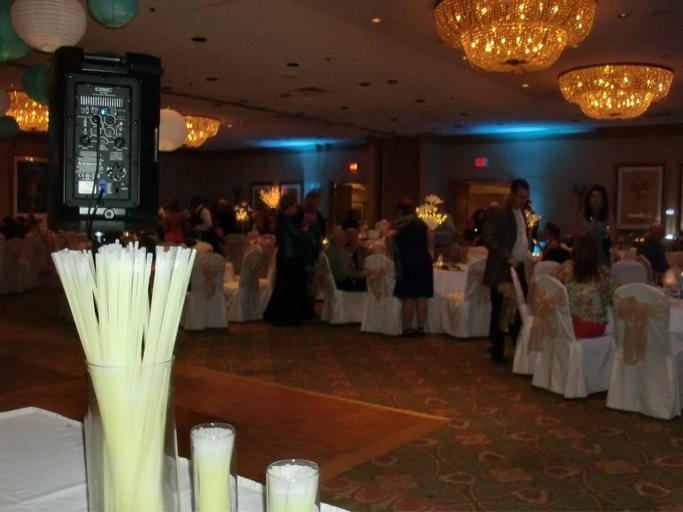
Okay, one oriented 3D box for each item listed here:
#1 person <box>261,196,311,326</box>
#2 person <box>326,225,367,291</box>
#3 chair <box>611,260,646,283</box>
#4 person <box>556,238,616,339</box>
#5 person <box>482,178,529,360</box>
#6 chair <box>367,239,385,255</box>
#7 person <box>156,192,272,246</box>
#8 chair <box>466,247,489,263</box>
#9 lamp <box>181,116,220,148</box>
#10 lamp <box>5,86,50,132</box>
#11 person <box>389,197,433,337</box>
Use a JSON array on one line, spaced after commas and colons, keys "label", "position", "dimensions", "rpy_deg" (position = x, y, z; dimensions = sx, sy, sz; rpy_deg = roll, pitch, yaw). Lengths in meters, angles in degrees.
[{"label": "person", "position": [-0.668, 0.039, 6.924], "dimensions": [0.550, 1.657, 0.279], "rpy_deg": [0, 4, -5]}, {"label": "person", "position": [0.086, 0.032, 7.116], "dimensions": [0.519, 0.834, 1.069], "rpy_deg": [1, 4, 2]}, {"label": "chair", "position": [2.798, 0.154, 5.305], "dimensions": [0.185, 0.188, 0.186], "rpy_deg": [6, 6, 33]}, {"label": "person", "position": [1.906, 0.224, 4.201], "dimensions": [0.424, 0.801, 0.227], "rpy_deg": [1, 4, -3]}, {"label": "person", "position": [1.627, 0.135, 5.046], "dimensions": [0.558, 1.671, 0.434], "rpy_deg": [-7, 10, -26]}, {"label": "chair", "position": [0.552, -0.147, 8.268], "dimensions": [0.221, 0.274, 0.285], "rpy_deg": [-1, -2, -35]}, {"label": "person", "position": [-2.426, -0.766, 10.987], "dimensions": [2.091, 0.701, 0.746], "rpy_deg": [-9, 49, 4]}, {"label": "chair", "position": [1.875, -0.024, 7.451], "dimensions": [0.219, 0.200, 0.220], "rpy_deg": [0, -3, -30]}, {"label": "lamp", "position": [-3.036, -2.750, 11.902], "dimensions": [0.698, 0.608, 0.957], "rpy_deg": [0, 4, -16]}, {"label": "lamp", "position": [-5.648, -2.674, 9.872], "dimensions": [0.571, 0.748, 1.211], "rpy_deg": [-2, 5, -31]}, {"label": "person", "position": [0.835, 0.133, 6.359], "dimensions": [0.518, 1.585, 0.380], "rpy_deg": [1, 4, 0]}]
